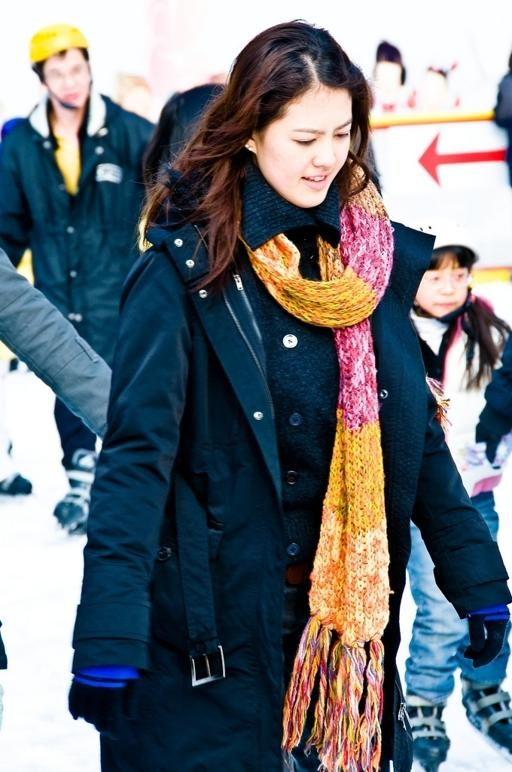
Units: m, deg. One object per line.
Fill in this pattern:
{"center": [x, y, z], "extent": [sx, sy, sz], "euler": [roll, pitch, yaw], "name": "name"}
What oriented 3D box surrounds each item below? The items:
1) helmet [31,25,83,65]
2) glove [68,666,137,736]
{"center": [-0.861, -1.495, 3.862], "extent": [0.181, 0.208, 0.161], "euler": [-7, 42, -19], "name": "helmet"}
{"center": [-0.234, 0.457, 1.313], "extent": [0.097, 0.099, 0.113], "euler": [10, -11, -12], "name": "glove"}
